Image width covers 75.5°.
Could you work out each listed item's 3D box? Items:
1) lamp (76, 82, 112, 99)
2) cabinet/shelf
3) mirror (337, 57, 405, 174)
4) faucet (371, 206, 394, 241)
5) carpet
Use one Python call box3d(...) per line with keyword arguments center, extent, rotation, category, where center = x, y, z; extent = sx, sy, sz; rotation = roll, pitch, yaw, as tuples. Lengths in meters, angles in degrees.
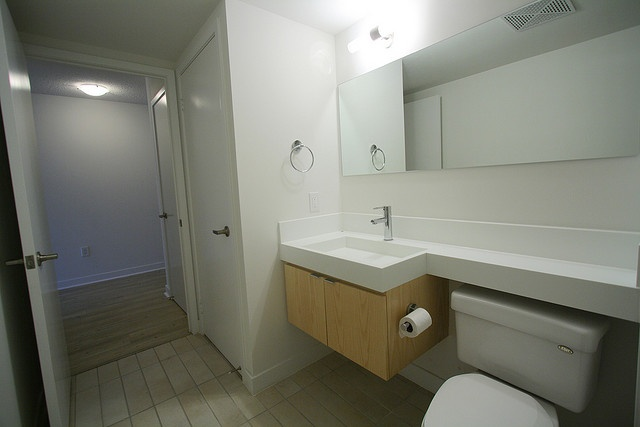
box3d(center=(-2.584, -1.409, 4.717), extent=(0.333, 0.097, 0.436), rotation=(-7, 11, -27), category="lamp")
box3d(center=(0.289, 0.406, 2.804), extent=(0.767, 0.572, 1.097), rotation=(-7, 10, -42), category="cabinet/shelf")
box3d(center=(0.409, -0.728, 3.225), extent=(0.612, 0.821, 0.064), rotation=(6, 13, 42), category="mirror")
box3d(center=(0.465, 0.078, 3.075), extent=(0.141, 0.250, 0.246), rotation=(-1, 10, 11), category="faucet")
box3d(center=(-2.065, 1.063, 4.393), extent=(1.120, 0.157, 1.922), rotation=(-9, 11, -32), category="carpet")
